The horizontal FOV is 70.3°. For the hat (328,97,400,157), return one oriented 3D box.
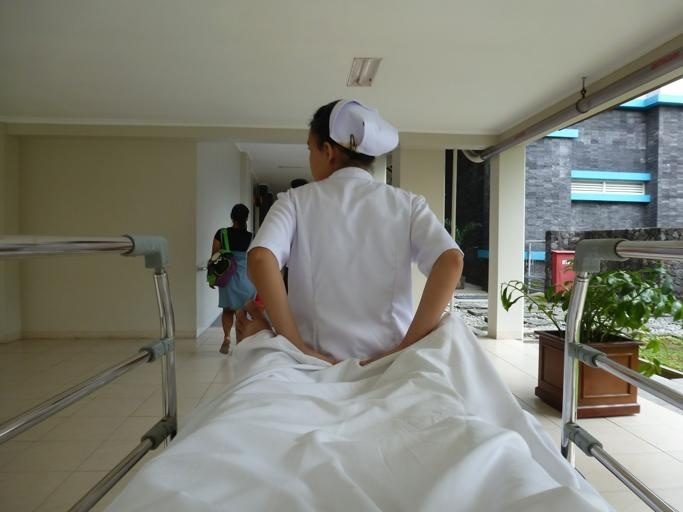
[{"bbox_3d":[0.069,-0.424,1.614,0.205,0.177,0.084,16,-4,-28],"label":"hat"}]

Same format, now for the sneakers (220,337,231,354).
[{"bbox_3d":[-1.118,0.898,4.685,0.065,0.196,0.074,8,31,-11],"label":"sneakers"}]

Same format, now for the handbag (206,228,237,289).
[{"bbox_3d":[-1.126,0.050,4.586,0.307,0.536,0.480,-1,-2,-11],"label":"handbag"}]

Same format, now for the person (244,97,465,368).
[{"bbox_3d":[0.047,-0.087,1.553,0.651,0.828,0.313,0,5,17],"label":"person"}]
